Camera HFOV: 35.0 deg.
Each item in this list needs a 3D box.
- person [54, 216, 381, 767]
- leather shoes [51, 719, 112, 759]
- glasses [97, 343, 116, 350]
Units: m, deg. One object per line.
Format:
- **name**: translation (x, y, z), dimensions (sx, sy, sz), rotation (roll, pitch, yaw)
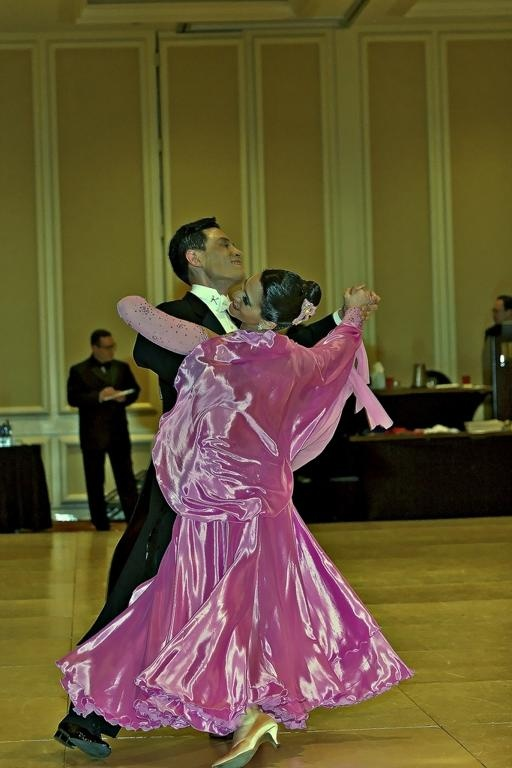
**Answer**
- **person**: translation (-0.129, 0.210, 1.920), dimensions (0.802, 1.261, 0.351), rotation (-5, 0, -31)
- **leather shoes**: translation (-0.368, 0.753, 1.768), dimensions (0.149, 0.067, 0.066), rotation (27, 30, -21)
- **glasses**: translation (-1.272, -0.328, 6.838), dimensions (0.085, 0.089, 0.087), rotation (6, 1, -22)
